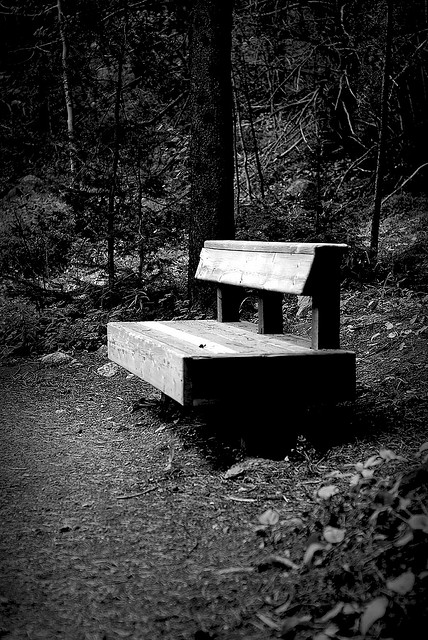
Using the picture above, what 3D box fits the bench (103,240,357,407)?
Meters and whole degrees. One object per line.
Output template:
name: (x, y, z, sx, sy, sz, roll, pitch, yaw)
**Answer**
bench: (0.137, 0.028, 4.650, 0.863, 0.731, 1.401, -1, 5, -21)
